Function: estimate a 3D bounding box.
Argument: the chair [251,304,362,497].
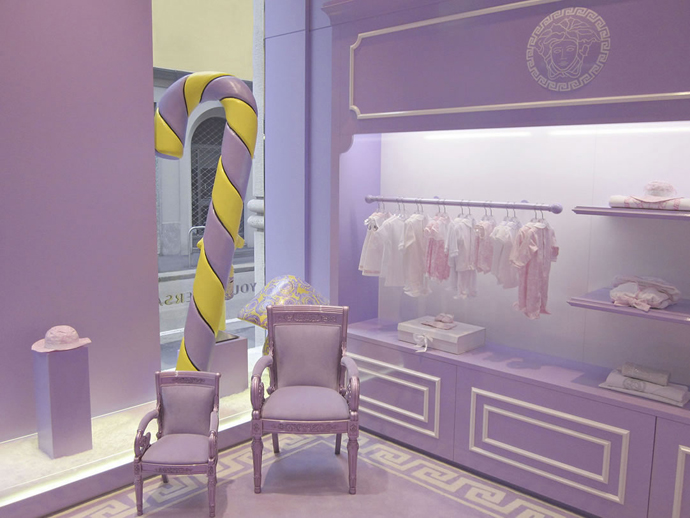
[{"bbox_3d":[-0.248,0.917,3.813,1.000,1.574,1.066,0,1,-1],"label":"chair"}]

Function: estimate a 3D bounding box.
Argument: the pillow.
[{"bbox_3d":[-0.539,0.318,4.142,0.468,0.260,0.485,1,-1,2],"label":"pillow"}]
